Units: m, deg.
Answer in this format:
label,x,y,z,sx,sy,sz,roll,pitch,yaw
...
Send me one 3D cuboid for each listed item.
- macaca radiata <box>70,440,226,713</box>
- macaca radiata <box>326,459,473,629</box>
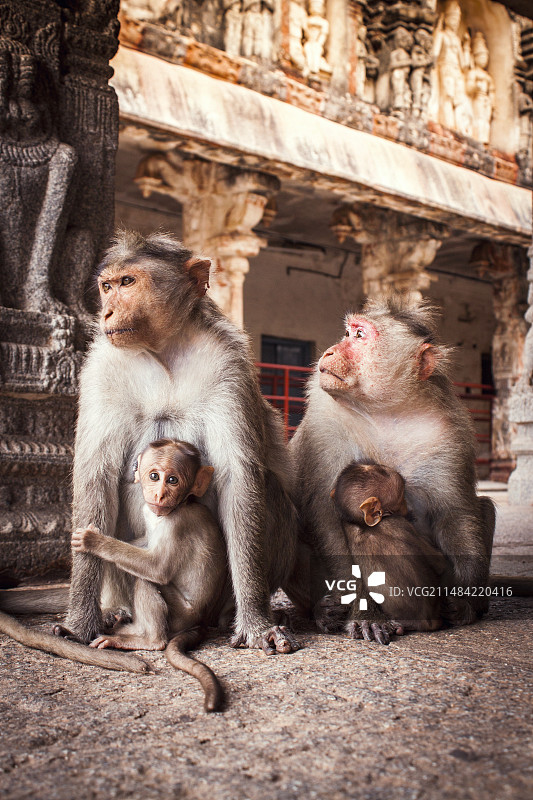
label,x,y,z,sx,sy,sz,roll,pitch,yaw
macaca radiata,-0.337,0.495,2.760,0.471,0.539,0.537,8,9,-34
macaca radiata,0.382,0.454,2.986,0.359,0.520,0.270,-1,1,6
